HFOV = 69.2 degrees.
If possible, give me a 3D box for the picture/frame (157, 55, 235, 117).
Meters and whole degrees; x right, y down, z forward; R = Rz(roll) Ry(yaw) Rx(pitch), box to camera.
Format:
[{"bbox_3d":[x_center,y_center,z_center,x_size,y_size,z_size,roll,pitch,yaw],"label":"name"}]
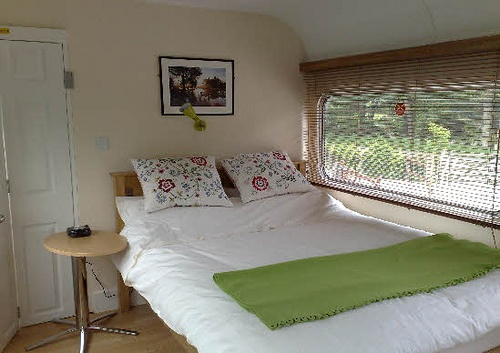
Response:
[{"bbox_3d":[-0.544,-0.932,3.777,0.921,0.573,0.012,8,17,25],"label":"picture/frame"}]
